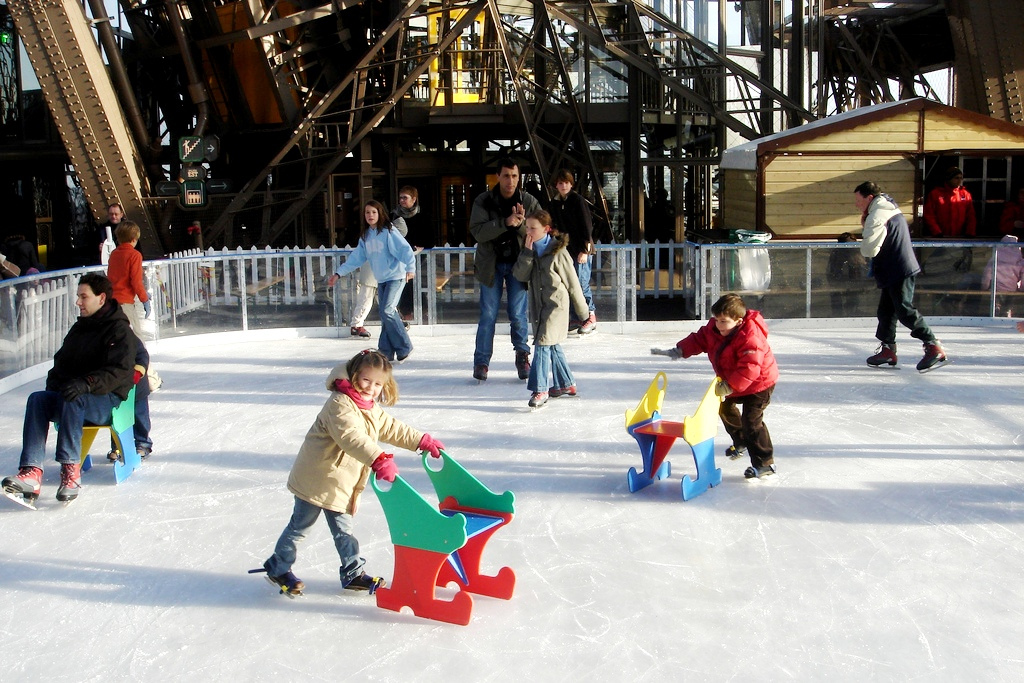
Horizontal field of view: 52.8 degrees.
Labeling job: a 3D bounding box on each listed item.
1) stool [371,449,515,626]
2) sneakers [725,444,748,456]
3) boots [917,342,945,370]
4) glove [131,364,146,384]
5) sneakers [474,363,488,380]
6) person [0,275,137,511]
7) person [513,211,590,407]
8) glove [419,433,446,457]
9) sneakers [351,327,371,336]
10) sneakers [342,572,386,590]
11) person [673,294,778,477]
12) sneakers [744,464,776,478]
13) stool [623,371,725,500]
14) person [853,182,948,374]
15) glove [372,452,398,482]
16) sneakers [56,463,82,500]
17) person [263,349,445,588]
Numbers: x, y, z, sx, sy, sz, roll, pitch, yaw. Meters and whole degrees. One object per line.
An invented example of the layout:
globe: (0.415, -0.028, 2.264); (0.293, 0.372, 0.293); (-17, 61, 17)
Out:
stool: (-0.463, 1.383, 7.322); (0.816, 1.042, 0.659); (6, 9, 32)
sneakers: (2.052, 0.970, 9.337); (0.142, 0.069, 0.105); (1, 1, -31)
boots: (4.979, 0.161, 12.249); (0.325, 0.361, 0.282); (0, 8, 5)
glove: (-3.300, 0.281, 9.131); (0.122, 0.120, 0.133); (7, -9, -21)
sneakers: (-0.356, 0.339, 12.041); (0.154, 0.195, 0.441); (1, -4, -5)
person: (-3.691, 0.376, 8.770); (1.093, 1.850, 0.473); (-6, 10, -32)
person: (0.399, -0.360, 10.980); (0.709, 2.051, 0.679); (1, 9, 17)
glove: (-0.560, 0.747, 7.238); (0.162, 0.077, 0.155); (22, 25, -4)
sneakers: (-2.189, -0.156, 15.013); (0.241, 0.133, 0.122); (0, 12, 13)
sneakers: (-1.045, 1.692, 7.348); (0.275, 0.144, 0.121); (-3, 2, 5)
person: (1.964, 0.367, 8.915); (0.714, 1.594, 0.675); (-3, 8, -12)
sneakers: (2.147, 1.090, 8.869); (0.231, 0.114, 0.108); (-8, 8, -12)
stool: (1.413, 0.767, 8.799); (0.588, 1.022, 0.732); (4, 7, 35)
person: (4.594, -0.770, 12.260); (0.972, 2.209, 0.565); (2, 9, 18)
glove: (-0.867, 0.851, 7.039); (0.174, 0.241, 0.220); (-2, 8, -9)
sneakers: (-3.739, 1.168, 8.690); (0.188, 0.325, 0.221); (-4, 9, -21)
person: (-1.169, 0.910, 7.216); (1.005, 1.728, 0.425); (1, 9, 16)
